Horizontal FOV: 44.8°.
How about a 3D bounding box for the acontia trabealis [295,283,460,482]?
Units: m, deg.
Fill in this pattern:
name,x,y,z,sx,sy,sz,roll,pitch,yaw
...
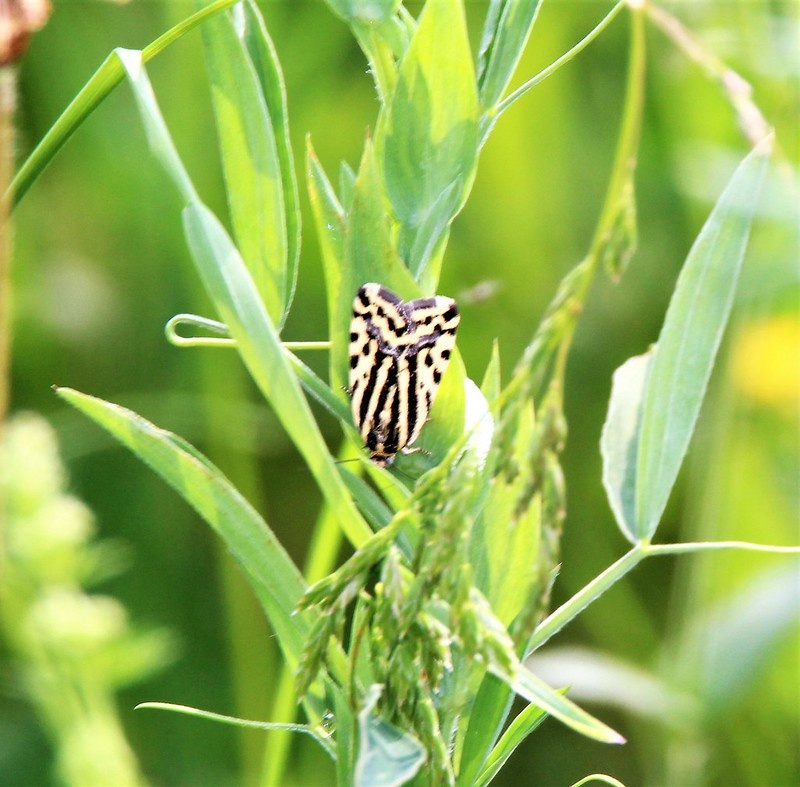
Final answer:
name,x,y,z,sx,sy,sz,roll,pitch,yaw
acontia trabealis,0.001,-0.012,0.538,0.058,0.077,0.051,3,-19,-4
